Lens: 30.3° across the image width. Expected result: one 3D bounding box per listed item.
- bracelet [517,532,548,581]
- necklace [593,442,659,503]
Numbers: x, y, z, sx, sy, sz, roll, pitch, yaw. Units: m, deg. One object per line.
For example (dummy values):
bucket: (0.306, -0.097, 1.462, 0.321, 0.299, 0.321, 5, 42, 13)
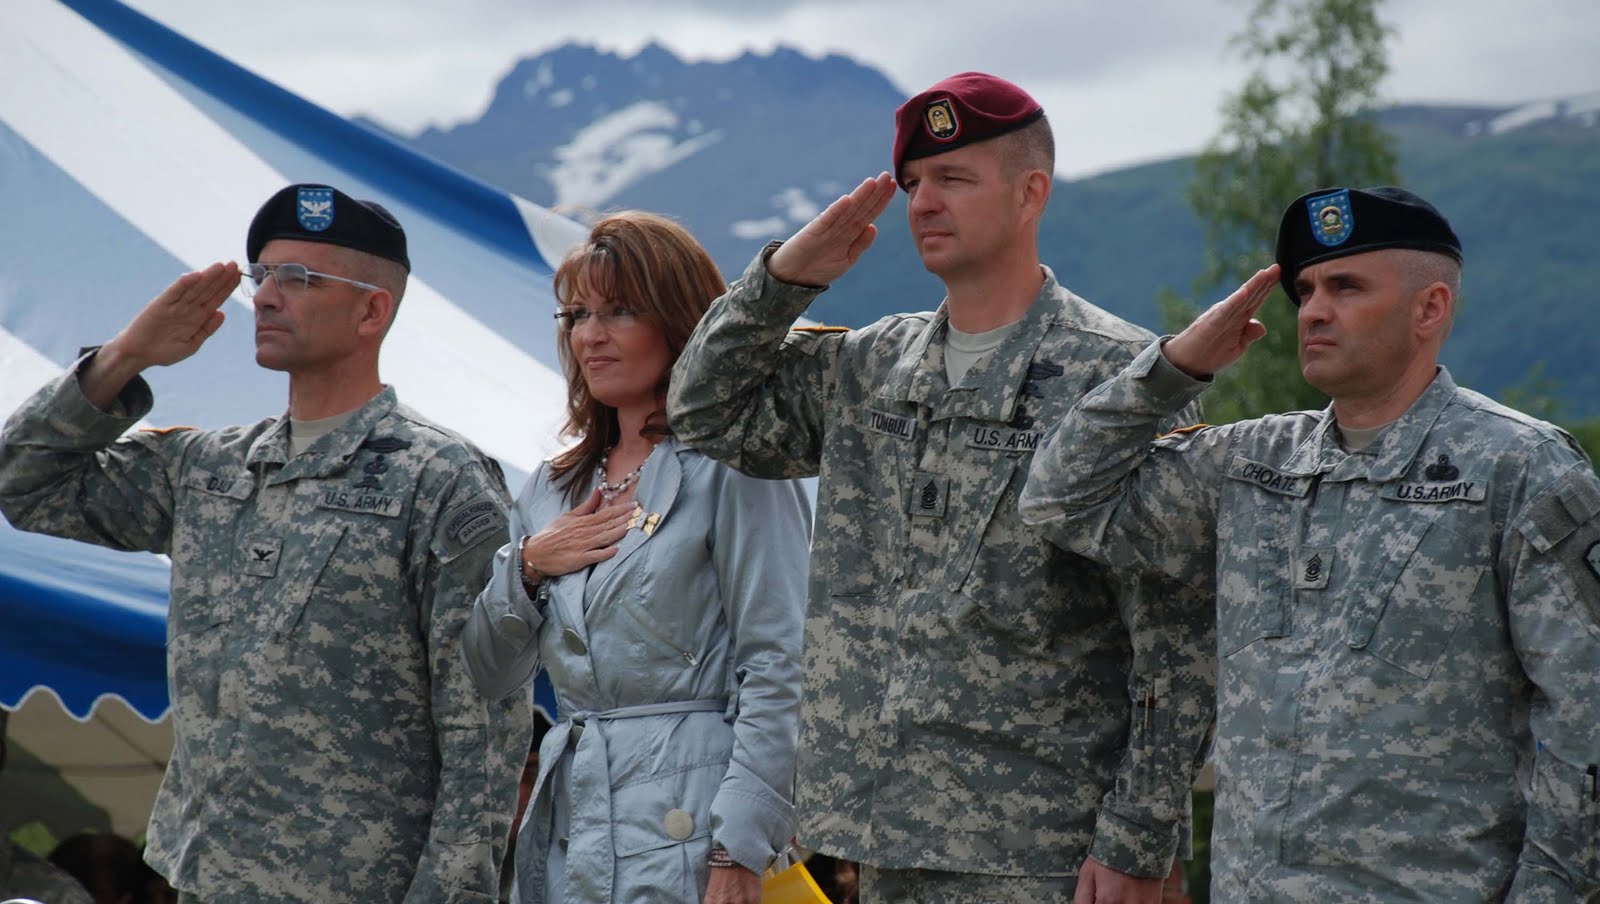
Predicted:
bracelet: (-1.568, 0.644, 17.472, 0.210, 0.225, 0.120, 2, 4, 7)
necklace: (-1.030, 0.154, 17.585, 0.313, 0.374, 0.098, 37, -7, 29)
